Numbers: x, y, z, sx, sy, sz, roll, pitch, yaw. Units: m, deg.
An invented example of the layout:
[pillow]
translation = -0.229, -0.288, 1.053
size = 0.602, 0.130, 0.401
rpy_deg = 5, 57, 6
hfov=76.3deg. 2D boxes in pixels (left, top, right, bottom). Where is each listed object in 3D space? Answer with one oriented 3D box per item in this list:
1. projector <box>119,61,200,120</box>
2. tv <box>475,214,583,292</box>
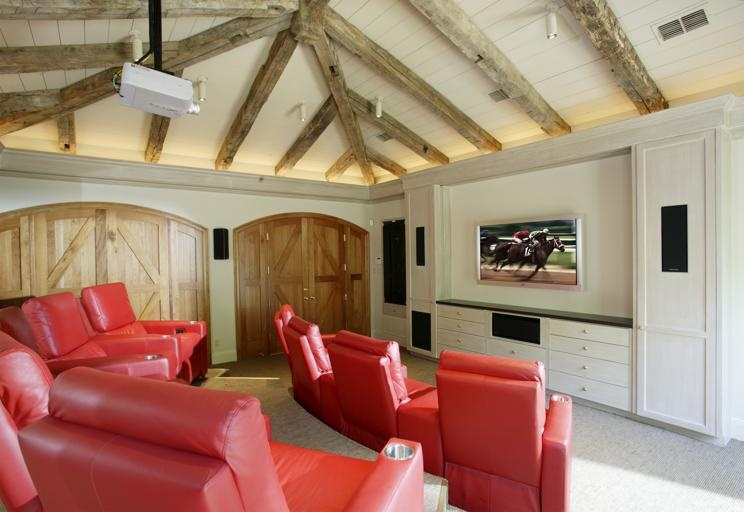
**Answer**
[projector]
translation = -1.807, -1.415, 4.185
size = 0.715, 0.254, 0.381
rpy_deg = 8, -36, -38
[tv]
translation = 1.984, -0.056, 6.109
size = 0.078, 0.934, 1.649
rpy_deg = -4, 3, -34
